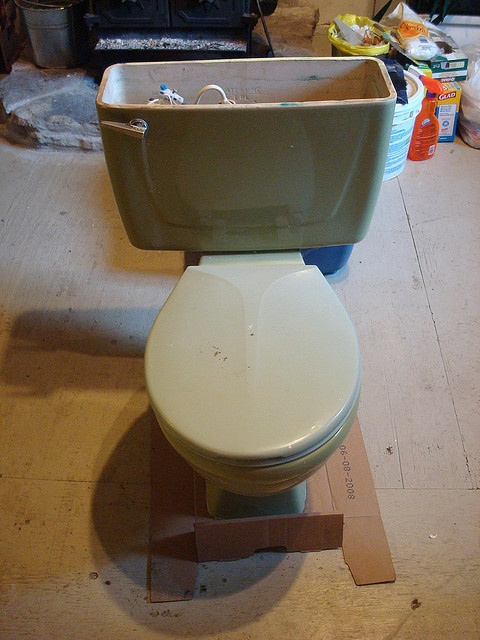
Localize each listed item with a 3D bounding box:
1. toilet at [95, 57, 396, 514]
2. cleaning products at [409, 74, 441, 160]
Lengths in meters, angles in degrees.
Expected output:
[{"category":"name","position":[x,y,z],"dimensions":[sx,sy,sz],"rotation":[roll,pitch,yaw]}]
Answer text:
[{"category":"toilet","position":[0.038,-0.015,1.138],"dimensions":[0.564,0.755,0.711],"rotation":[-3,51,-2]},{"category":"cleaning products","position":[0.671,-0.715,2.043],"dimensions":[0.126,0.291,0.067],"rotation":[-3,49,5]}]
